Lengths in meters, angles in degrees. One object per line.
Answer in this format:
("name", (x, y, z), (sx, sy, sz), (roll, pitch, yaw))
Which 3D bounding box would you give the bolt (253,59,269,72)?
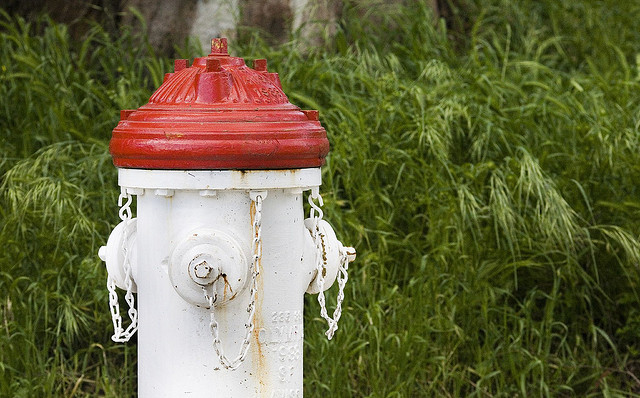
("bolt", (-0.344, -0.758, 5.948), (0.062, 0.080, 0.076), (2, 0, -7))

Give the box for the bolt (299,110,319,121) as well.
("bolt", (-0.046, -0.469, 5.841), (0.062, 0.049, 0.068), (1, 1, -5))

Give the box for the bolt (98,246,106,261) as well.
("bolt", (-1.239, 0.319, 5.946), (0.062, 0.069, 0.059), (1, 5, 12))

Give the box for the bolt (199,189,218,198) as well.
("bolt", (-0.610, -0.025, 5.670), (0.095, 0.049, 0.034), (-3, 6, -13))

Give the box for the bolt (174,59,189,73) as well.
("bolt", (-0.784, -0.752, 5.887), (0.069, 0.081, 0.078), (0, -18, 0))

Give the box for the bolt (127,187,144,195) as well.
("bolt", (-1.019, -0.038, 5.741), (0.066, 0.042, 0.049), (4, 3, -2))

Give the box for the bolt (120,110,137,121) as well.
("bolt", (-1.092, -0.470, 5.881), (0.064, 0.076, 0.070), (0, 0, 20))

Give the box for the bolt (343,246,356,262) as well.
("bolt", (0.173, 0.339, 6.063), (0.076, 0.073, 0.068), (7, -23, -2))
